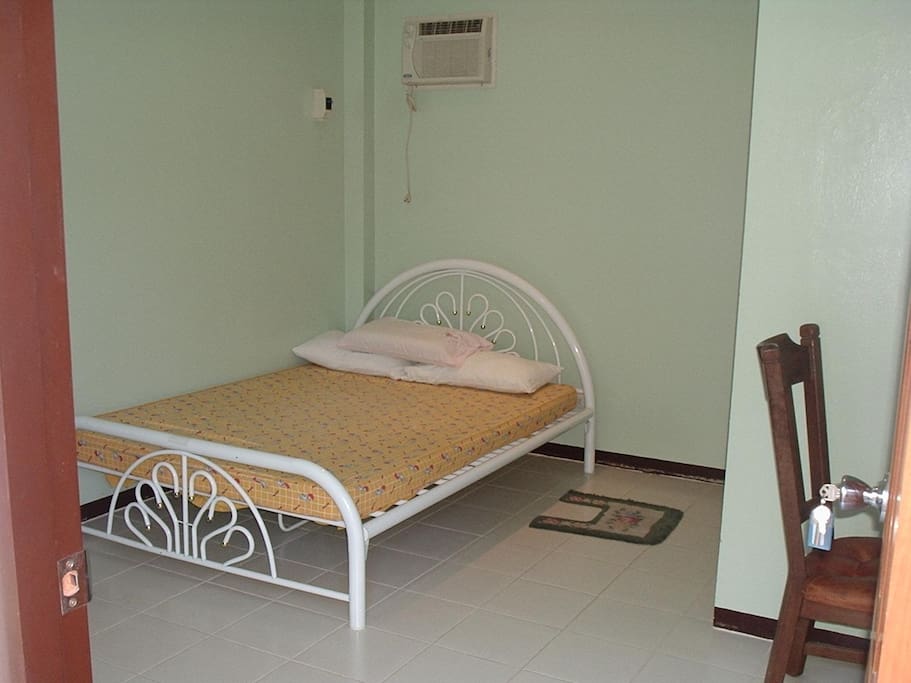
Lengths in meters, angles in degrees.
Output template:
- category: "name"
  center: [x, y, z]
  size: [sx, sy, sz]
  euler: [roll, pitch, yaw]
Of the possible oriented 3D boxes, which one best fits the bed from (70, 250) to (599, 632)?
- category: "bed"
  center: [-0.577, 0.344, 4.014]
  size: [1.842, 0.971, 2.320]
  euler: [6, 14, 28]
